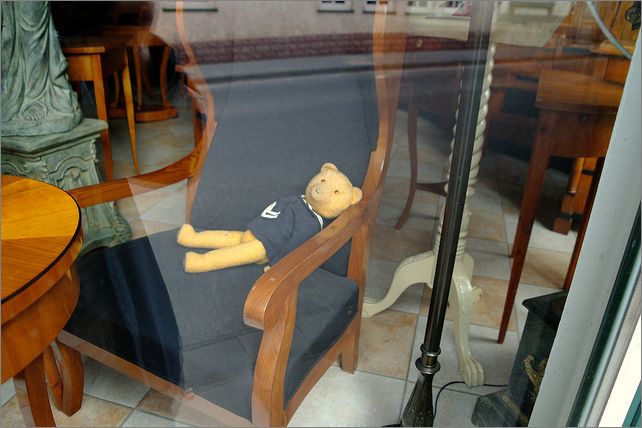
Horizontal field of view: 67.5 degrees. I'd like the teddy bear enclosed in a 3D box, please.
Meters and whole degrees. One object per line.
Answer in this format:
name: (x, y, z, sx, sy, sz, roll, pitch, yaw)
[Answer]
teddy bear: (-0.085, 0.006, 0.838, 0.318, 0.149, 0.131, -6, 27, -25)
